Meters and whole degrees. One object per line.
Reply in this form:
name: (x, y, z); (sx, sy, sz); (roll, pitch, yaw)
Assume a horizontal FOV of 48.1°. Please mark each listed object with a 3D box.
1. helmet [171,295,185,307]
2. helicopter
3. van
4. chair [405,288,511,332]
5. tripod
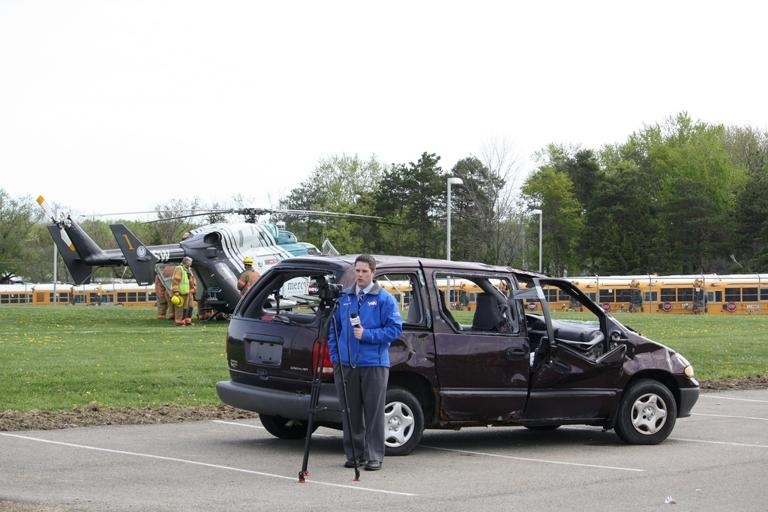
helmet: (-6.940, 1.494, 28.972); (0.313, 0.412, 0.415); (-2, -2, 21)
helicopter: (-6.943, -0.124, 31.608); (7.837, 2.907, 6.614); (-3, 3, -26)
van: (1.049, 1.474, 12.743); (5.605, 2.055, 3.347); (-1, 0, -22)
chair: (1.133, 0.850, 12.323); (1.280, 0.527, 0.727); (-1, 1, -8)
tripod: (-0.715, 1.630, 10.686); (0.835, 2.062, 0.837); (2, 0, -9)
